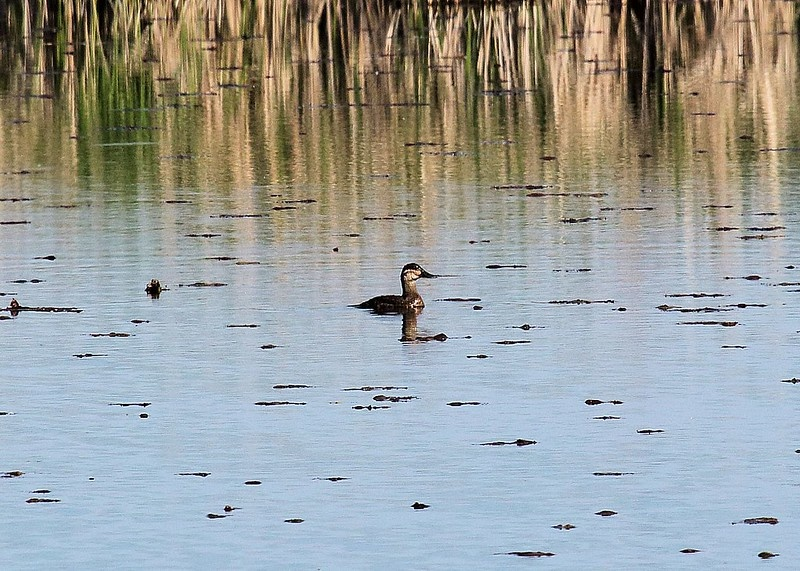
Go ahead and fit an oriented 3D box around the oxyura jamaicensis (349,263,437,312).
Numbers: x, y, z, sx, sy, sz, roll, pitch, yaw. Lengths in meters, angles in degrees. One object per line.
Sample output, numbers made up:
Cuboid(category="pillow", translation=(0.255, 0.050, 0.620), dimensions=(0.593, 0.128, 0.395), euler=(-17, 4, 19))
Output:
Cuboid(category="oxyura jamaicensis", translation=(-0.117, 0.074, 19.279), dimensions=(1.084, 0.671, 0.465), euler=(1, 6, 24))
